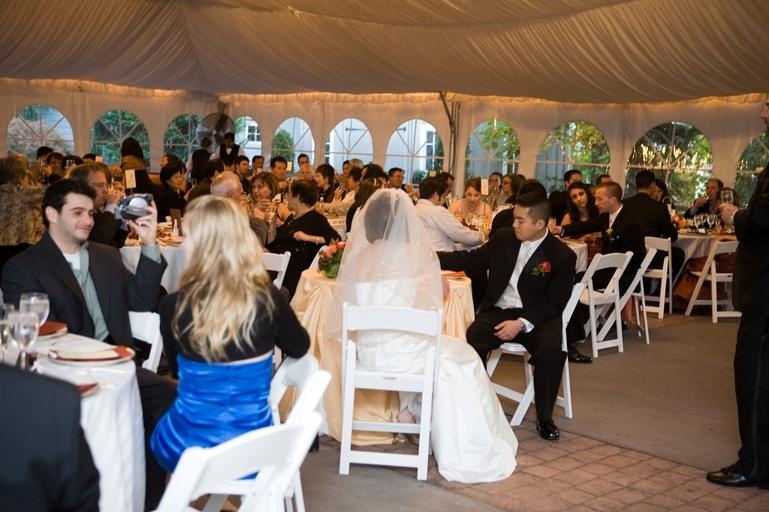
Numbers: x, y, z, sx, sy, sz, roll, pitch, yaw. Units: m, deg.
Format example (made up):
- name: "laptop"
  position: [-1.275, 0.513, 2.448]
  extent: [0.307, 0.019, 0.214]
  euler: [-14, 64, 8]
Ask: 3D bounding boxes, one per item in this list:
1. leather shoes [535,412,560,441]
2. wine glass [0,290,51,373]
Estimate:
- name: "leather shoes"
  position: [1.249, 1.291, 4.360]
  extent: [0.107, 0.110, 0.249]
  euler: [-2, -4, -6]
- name: "wine glass"
  position: [-1.642, 0.336, 2.622]
  extent: [0.157, 0.248, 0.433]
  euler: [-4, 14, -27]
